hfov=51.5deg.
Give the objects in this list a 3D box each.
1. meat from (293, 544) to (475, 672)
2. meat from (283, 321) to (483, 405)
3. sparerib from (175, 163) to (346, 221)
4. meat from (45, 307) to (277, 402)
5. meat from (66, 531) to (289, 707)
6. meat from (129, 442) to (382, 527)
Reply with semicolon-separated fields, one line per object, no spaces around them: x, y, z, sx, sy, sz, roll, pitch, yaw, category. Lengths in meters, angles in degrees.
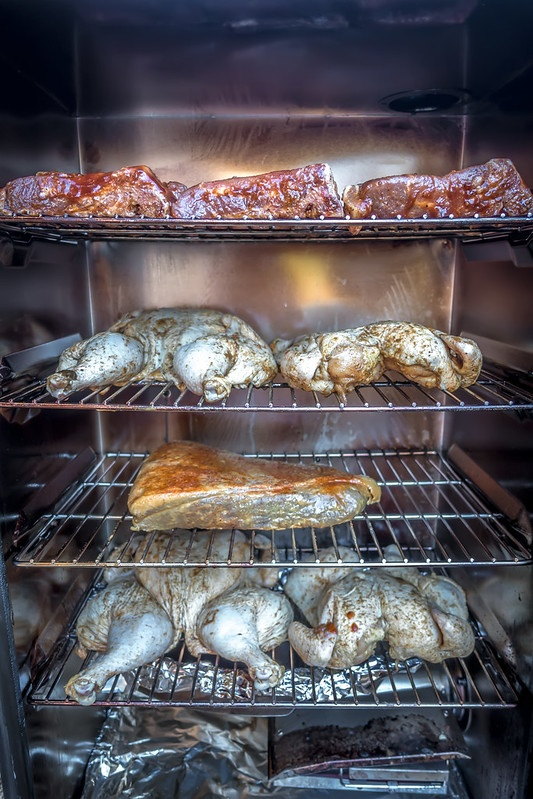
0.291;0.554;1.465;0.472;0.336;0.162;-1;-67;-7;meat
0.283;-0.107;1.369;0.380;0.242;0.114;-4;-69;8;meat
-0.023;-0.477;1.307;0.333;0.196;0.100;-3;-66;0;sparerib
-0.338;-0.091;1.493;0.398;0.424;0.099;-3;-108;22;meat
-0.225;0.522;1.500;0.578;0.619;0.297;-5;-81;0;meat
-0.053;0.238;1.465;0.481;0.304;0.114;-1;-75;-1;meat
